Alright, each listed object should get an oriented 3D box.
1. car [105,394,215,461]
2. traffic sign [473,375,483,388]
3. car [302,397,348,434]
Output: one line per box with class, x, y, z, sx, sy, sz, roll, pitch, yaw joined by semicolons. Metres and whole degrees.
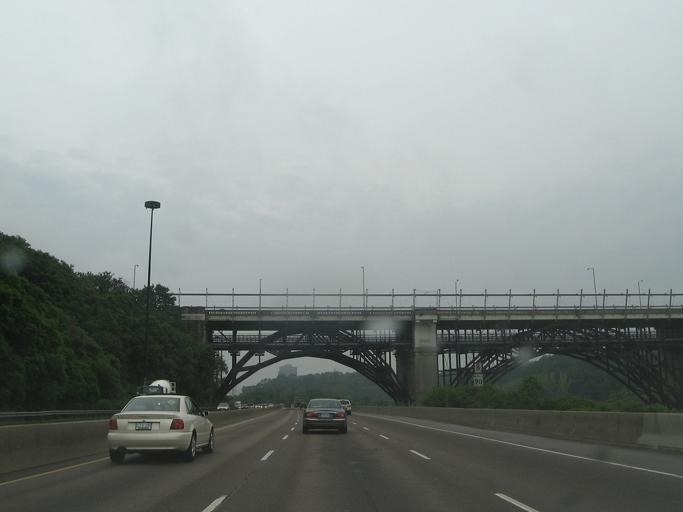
car;-6.081;5.775;27.948;3.344;2.262;2.122;5;-11;-22
traffic sign;14.237;13.012;87.491;0.957;1.888;1.033;2;-10;-9
car;-0.792;7.472;39.257;1.968;1.360;1.265;-1;-10;8
